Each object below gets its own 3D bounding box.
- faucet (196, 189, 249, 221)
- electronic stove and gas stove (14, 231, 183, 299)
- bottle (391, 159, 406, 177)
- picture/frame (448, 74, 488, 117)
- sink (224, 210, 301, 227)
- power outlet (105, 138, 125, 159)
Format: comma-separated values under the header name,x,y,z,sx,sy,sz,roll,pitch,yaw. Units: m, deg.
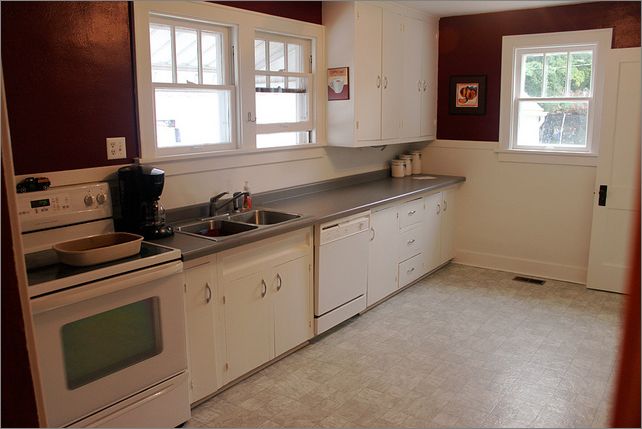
name,x,y,z,sx,sy,sz,roll,pitch,yaw
faucet,-0.777,-0.103,3.635,0.355,0.187,0.205,-15,19,-41
electronic stove and gas stove,-1.272,0.264,2.591,0.771,0.100,0.511,-12,17,-35
bottle,0.928,-0.545,5.364,0.206,0.195,0.157,-6,11,-35
picture/frame,1.783,-1.435,5.326,0.490,0.513,0.050,8,13,32
sink,-0.536,0.033,3.659,0.242,0.118,0.307,10,14,41
power outlet,-1.427,-0.451,3.049,0.016,0.155,0.139,4,10,34
